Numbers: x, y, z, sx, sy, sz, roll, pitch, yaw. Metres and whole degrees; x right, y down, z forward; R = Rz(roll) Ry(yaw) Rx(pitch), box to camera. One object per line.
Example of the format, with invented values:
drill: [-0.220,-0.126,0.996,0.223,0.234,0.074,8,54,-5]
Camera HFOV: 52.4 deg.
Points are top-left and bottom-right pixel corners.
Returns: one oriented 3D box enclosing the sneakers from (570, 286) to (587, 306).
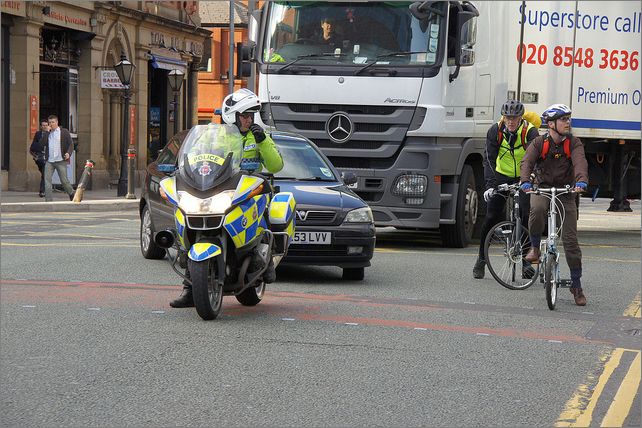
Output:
sneakers: [3.404,1.070,8.535,0.211,0.219,0.328,4,8,22]

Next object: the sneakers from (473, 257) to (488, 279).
sneakers: [2.494,0.886,10.149,0.127,0.399,0.177,3,-9,8]

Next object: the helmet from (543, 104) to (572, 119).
helmet: [3.109,-1.324,8.516,0.307,0.187,0.234,4,3,6]

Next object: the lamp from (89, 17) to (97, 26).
lamp: [-9.914,-8.317,28.374,0.178,0.443,0.433,3,8,14]

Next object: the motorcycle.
motorcycle: [-0.972,0.072,7.078,1.269,2.049,0.724,-5,9,-42]

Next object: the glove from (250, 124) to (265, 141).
glove: [-0.689,-0.872,7.009,0.084,0.115,0.198,-36,63,-22]

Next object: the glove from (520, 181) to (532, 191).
glove: [2.695,-0.355,8.472,0.087,0.098,0.112,2,25,6]

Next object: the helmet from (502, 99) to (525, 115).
helmet: [2.915,-1.580,9.806,0.293,0.242,0.349,3,8,13]

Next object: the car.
car: [-0.703,-0.026,10.657,2.120,1.569,3.533,1,-2,-23]

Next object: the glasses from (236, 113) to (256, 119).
glasses: [-0.803,-1.052,7.079,0.110,0.101,0.234,7,10,38]

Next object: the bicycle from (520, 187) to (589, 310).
bicycle: [3.103,0.388,8.577,0.813,1.598,1.460,3,8,14]

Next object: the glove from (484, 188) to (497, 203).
glove: [2.527,-0.274,9.726,0.146,0.212,0.094,4,-2,-13]
